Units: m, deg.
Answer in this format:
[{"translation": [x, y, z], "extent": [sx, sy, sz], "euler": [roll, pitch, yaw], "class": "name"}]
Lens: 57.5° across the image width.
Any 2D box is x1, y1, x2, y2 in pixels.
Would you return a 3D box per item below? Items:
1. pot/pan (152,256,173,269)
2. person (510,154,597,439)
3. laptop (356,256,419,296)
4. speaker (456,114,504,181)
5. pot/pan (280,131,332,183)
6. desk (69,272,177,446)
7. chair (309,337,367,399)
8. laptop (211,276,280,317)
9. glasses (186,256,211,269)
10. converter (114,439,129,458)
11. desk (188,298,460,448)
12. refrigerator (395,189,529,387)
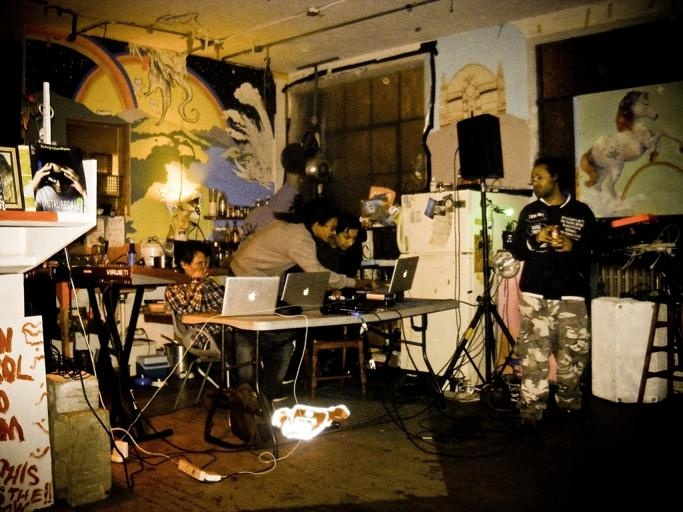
[{"translation": [-1.950, 0.064, 6.700], "extent": [0.251, 0.160, 0.254], "euler": [0, -4, -9], "class": "pot/pan"}, {"translation": [1.779, 0.281, 5.243], "extent": [0.659, 2.205, 0.570], "euler": [1, 8, 12], "class": "person"}, {"translation": [0.461, 0.204, 5.583], "extent": [0.507, 0.333, 0.363], "euler": [-4, -1, 16], "class": "laptop"}, {"translation": [1.350, -1.059, 6.049], "extent": [0.368, 0.579, 0.379], "euler": [-5, 0, 19], "class": "speaker"}, {"translation": [-0.479, -1.342, 8.461], "extent": [0.726, 0.654, 0.302], "euler": [6, -9, -45], "class": "pot/pan"}, {"translation": [-1.957, 0.727, 5.395], "extent": [0.682, 1.495, 1.756], "euler": [-4, 9, -23], "class": "desk"}, {"translation": [-0.111, 1.076, 6.047], "extent": [0.704, 0.533, 0.690], "euler": [2, -6, -44], "class": "chair"}, {"translation": [-0.798, 0.312, 4.878], "extent": [0.472, 0.319, 0.334], "euler": [1, 0, -31], "class": "laptop"}, {"translation": [-1.333, 0.045, 5.765], "extent": [0.101, 0.089, 0.113], "euler": [-1, 19, 4], "class": "glasses"}, {"translation": [-1.655, 1.427, 4.600], "extent": [0.122, 0.116, 0.041], "euler": [3, 4, 28], "class": "converter"}, {"translation": [-0.065, 0.751, 5.447], "extent": [2.406, 0.837, 1.020], "euler": [-7, 10, -41], "class": "desk"}, {"translation": [1.112, 0.155, 6.691], "extent": [1.158, 1.667, 1.020], "euler": [-7, 7, -44], "class": "refrigerator"}]
